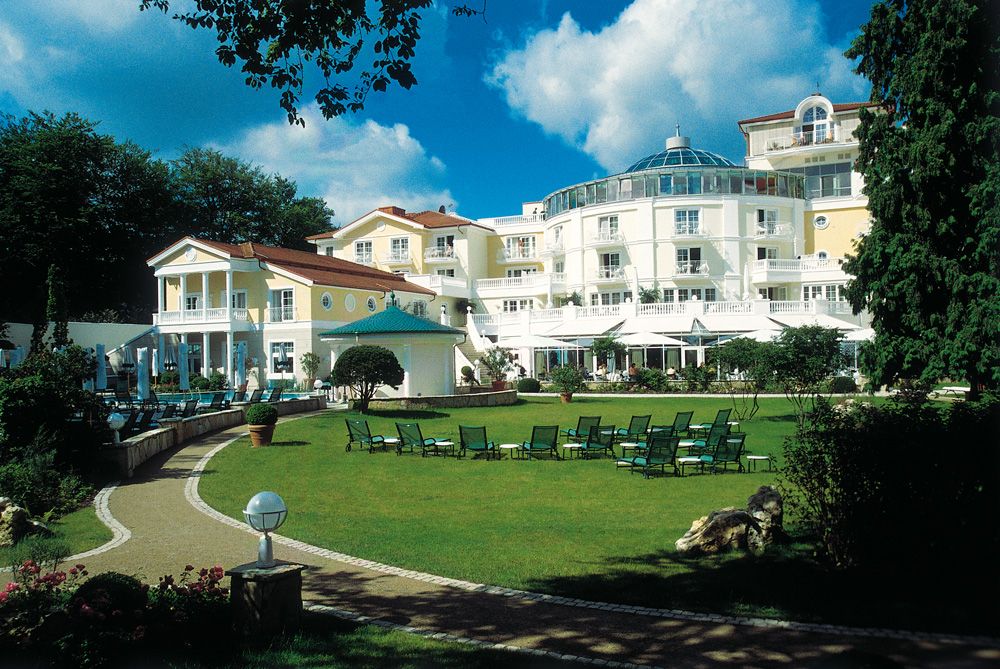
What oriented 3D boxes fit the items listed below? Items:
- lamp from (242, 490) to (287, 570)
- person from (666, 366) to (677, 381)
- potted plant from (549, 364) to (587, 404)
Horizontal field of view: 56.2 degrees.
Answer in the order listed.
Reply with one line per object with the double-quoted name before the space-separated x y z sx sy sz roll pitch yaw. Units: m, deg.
"lamp" -4.407 3.646 17.608 0.839 1.285 0.885 7 -14 -35
"person" 10.641 2.385 57.977 0.653 0.765 1.025 4 -11 -10
"potted plant" 3.681 2.597 51.456 1.793 2.235 1.984 -1 -1 32
